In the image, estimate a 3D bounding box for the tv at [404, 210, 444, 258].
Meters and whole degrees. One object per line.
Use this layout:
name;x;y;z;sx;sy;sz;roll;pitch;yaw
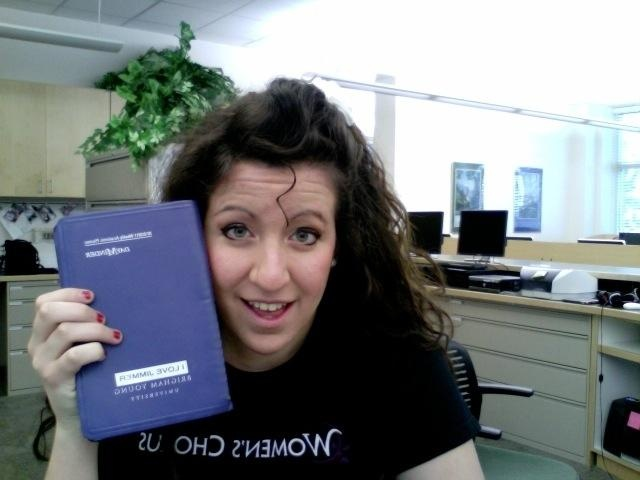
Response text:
tv;0.843;-0.019;4.481;0.369;0.445;0.454;-6;6;-40

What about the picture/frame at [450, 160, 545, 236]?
picture/frame;2.735;-0.705;7.779;1.473;0.886;0.057;0;0;-32

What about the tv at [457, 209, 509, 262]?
tv;1.372;-0.031;4.194;0.453;0.470;0.162;2;-9;39

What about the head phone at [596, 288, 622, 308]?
head phone;1.765;0.354;3.025;0.131;0.081;0.268;2;7;27
